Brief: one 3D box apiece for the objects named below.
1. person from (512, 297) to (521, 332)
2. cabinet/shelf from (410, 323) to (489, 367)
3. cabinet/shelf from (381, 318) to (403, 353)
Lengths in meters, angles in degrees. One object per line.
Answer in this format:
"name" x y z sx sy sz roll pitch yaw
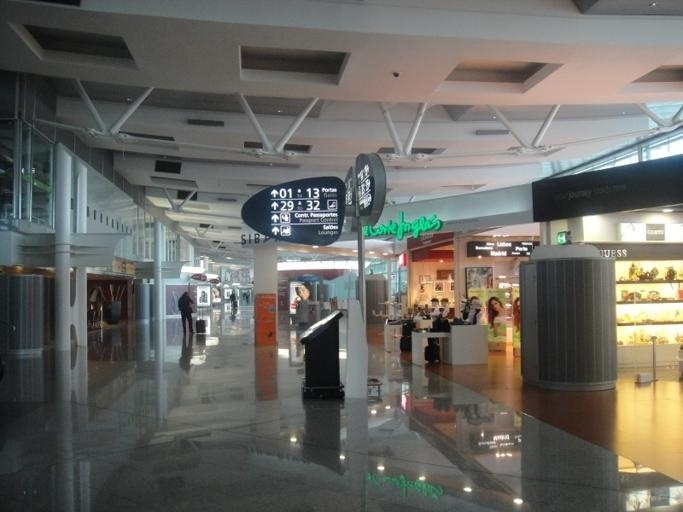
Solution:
"person" 4.882 1.608 15.694 0.148 0.893 0.484 1 2 17
"cabinet/shelf" 2.674 2.144 13.679 1.113 0.915 1.579 0 -2 -22
"cabinet/shelf" 1.649 2.508 17.467 0.773 1.300 1.388 1 -6 3
